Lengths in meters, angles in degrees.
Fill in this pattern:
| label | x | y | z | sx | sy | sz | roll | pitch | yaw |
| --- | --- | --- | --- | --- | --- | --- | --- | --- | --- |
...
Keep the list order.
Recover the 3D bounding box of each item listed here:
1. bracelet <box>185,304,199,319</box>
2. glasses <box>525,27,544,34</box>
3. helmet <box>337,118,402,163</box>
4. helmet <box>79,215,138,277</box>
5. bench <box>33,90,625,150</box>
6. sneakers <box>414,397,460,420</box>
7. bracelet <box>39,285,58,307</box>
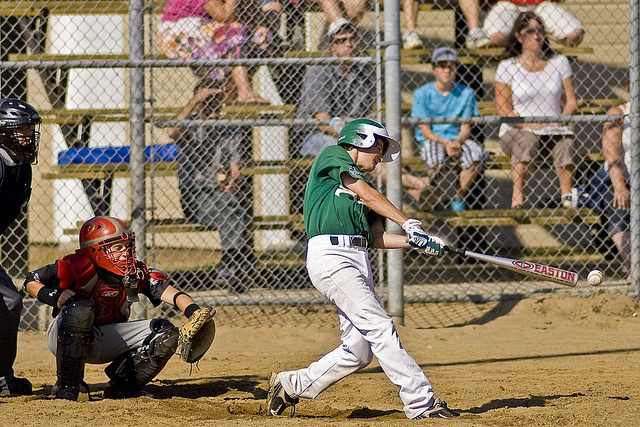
| label | x | y | z | sx | sy | sz | roll | pitch | yaw |
| --- | --- | --- | --- | --- | --- | --- | --- | --- | --- |
| bracelet | -1.270 | 0.963 | 11.240 | 0.117 | 0.132 | 0.129 | 3 | -11 | 21 |
| glasses | 2.551 | -2.189 | 13.517 | 0.233 | 0.070 | 0.075 | -5 | 8 | -16 |
| helmet | 0.480 | -0.734 | 11.048 | 0.555 | 0.327 | 0.368 | 17 | -22 | 5 |
| helmet | -2.142 | 0.275 | 11.458 | 0.592 | 0.607 | 0.493 | -1 | 11 | 22 |
| bench | -0.796 | -1.056 | 13.119 | 4.948 | 0.614 | 0.202 | -3 | 8 | -3 |
| sneakers | 1.109 | 1.852 | 10.785 | 0.467 | 0.230 | 0.172 | 2 | -5 | 0 |
| bracelet | -2.658 | 0.802 | 11.243 | 0.174 | 0.186 | 0.178 | 20 | -7 | -3 |
